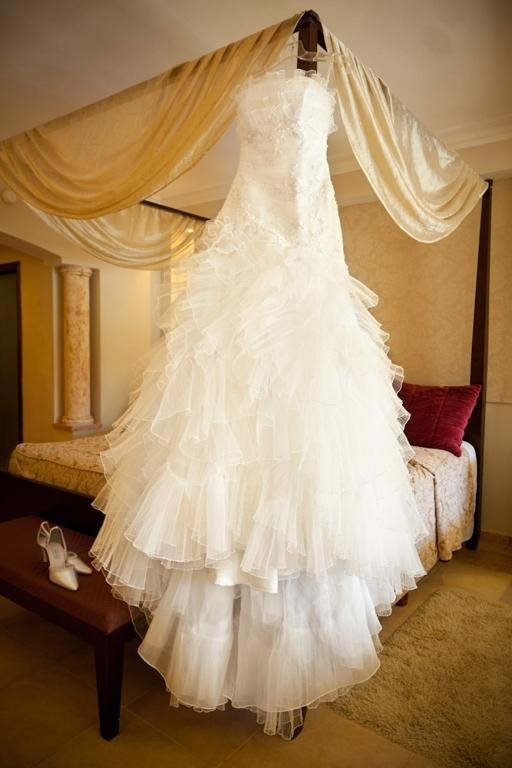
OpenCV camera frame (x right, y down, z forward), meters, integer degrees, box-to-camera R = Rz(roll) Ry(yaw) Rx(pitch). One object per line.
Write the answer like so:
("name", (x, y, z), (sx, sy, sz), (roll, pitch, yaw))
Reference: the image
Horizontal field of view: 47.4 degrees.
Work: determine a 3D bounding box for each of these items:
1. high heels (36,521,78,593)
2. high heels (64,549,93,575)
("high heels", (-0.717, 0.590, 2.027), (0.098, 0.149, 0.442), (-5, 11, -23))
("high heels", (-0.602, 0.611, 1.996), (0.122, 0.027, 0.042), (13, 8, 33))
